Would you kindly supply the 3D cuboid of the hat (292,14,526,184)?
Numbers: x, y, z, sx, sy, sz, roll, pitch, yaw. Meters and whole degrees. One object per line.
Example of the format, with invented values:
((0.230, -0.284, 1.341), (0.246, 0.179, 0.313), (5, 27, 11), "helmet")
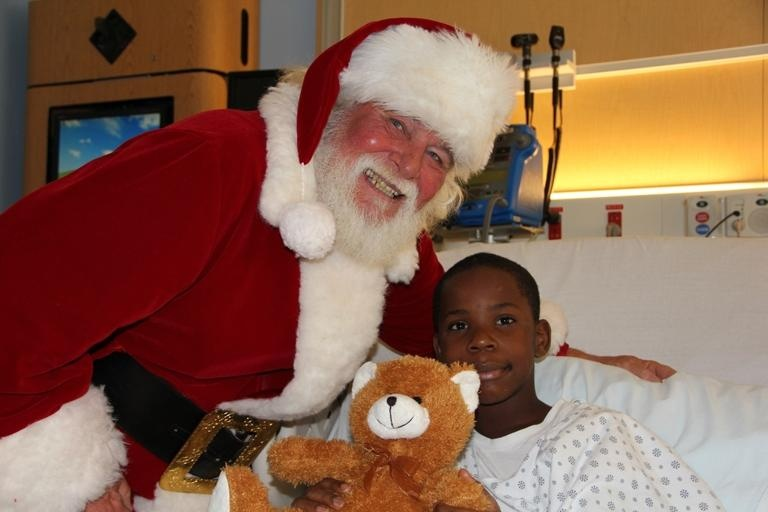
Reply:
((0.075, -0.455, 2.933), (0.550, 0.421, 0.443), (24, -7, 1), "hat")

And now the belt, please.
((-0.585, 0.458, 2.761), (0.470, 0.174, 0.380), (35, -18, 2), "belt")
